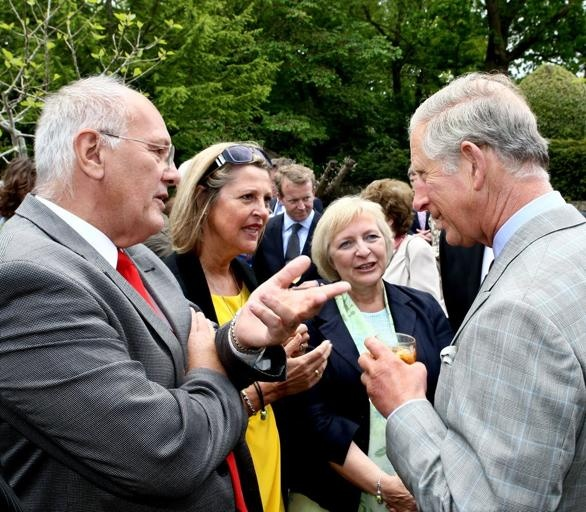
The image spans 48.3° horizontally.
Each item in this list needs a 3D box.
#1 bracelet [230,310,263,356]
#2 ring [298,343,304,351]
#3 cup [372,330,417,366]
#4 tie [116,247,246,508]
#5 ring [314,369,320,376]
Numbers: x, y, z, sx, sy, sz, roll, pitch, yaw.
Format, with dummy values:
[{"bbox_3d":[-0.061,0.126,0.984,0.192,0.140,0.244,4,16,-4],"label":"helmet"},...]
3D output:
[{"bbox_3d":[-0.187,0.286,2.377,0.135,0.147,0.063,-9,-6,-28],"label":"bracelet"},{"bbox_3d":[0.043,0.440,3.141,0.011,0.029,0.024,8,0,-44],"label":"ring"},{"bbox_3d":[0.476,0.405,2.958,0.198,0.153,0.215,0,-2,0],"label":"cup"},{"bbox_3d":[-0.397,0.445,2.267,0.117,1.244,0.174,1,-42,-43],"label":"tie"},{"bbox_3d":[0.118,0.546,3.056,0.028,0.025,0.020,7,-9,-22],"label":"ring"}]
